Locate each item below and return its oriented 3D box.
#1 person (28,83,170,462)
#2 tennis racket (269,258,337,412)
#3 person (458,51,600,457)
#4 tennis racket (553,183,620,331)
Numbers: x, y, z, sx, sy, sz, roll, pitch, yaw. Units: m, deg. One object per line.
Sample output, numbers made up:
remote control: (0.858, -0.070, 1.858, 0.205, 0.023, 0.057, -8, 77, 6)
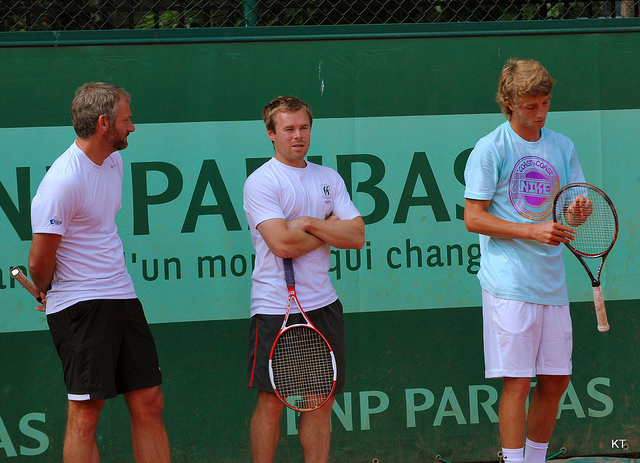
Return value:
person: (-1.304, 0.299, 3.984, 0.677, 2.273, 0.243, -5, 4, -25)
tennis racket: (-0.109, 0.606, 3.926, 0.392, 0.897, 0.271, -4, 3, -2)
person: (1.285, 0.197, 4.182, 0.753, 2.478, 0.396, -3, 3, 9)
tennis racket: (1.669, 0.062, 4.185, 0.370, 1.059, 0.073, -9, -2, -2)
